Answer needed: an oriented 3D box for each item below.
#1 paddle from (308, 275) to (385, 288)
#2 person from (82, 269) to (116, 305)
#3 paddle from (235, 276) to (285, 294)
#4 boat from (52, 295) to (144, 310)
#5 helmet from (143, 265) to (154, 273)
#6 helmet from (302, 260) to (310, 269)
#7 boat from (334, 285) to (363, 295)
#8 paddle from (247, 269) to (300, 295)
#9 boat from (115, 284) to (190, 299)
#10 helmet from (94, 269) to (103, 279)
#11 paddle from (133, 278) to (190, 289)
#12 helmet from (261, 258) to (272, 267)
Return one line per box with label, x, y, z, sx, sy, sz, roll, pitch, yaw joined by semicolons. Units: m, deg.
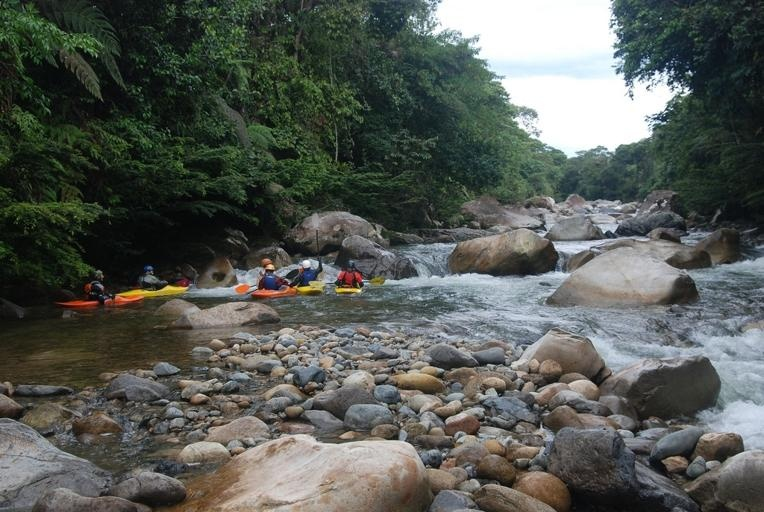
paddle;-1.019;0.825;17.205;2.729;0.544;0.350;2;4;-13
person;-7.628;0.841;14.676;0.694;0.789;0.935;10;3;31
paddle;-3.665;0.884;16.343;0.616;0.138;1.943;-31;19;-38
boat;-7.454;1.244;14.500;0.554;0.240;2.005;12;9;39
helmet;-7.164;0.394;16.617;0.311;0.122;0.386;0;3;-15
helmet;-2.305;0.260;16.345;0.245;0.136;0.294;4;4;-5
boat;-1.001;1.009;15.986;0.753;0.224;0.506;-5;5;-5
paddle;-3.203;0.833;15.516;0.765;0.398;1.155;0;7;1
boat;-6.748;1.063;16.048;1.765;0.246;0.563;-3;8;-45
helmet;-7.707;0.493;14.720;0.233;0.232;0.233;1;25;-21
paddle;-6.771;0.918;17.011;0.522;0.200;1.442;9;6;35
helmet;-3.421;0.182;16.075;0.395;0.145;0.499;-3;5;-18
